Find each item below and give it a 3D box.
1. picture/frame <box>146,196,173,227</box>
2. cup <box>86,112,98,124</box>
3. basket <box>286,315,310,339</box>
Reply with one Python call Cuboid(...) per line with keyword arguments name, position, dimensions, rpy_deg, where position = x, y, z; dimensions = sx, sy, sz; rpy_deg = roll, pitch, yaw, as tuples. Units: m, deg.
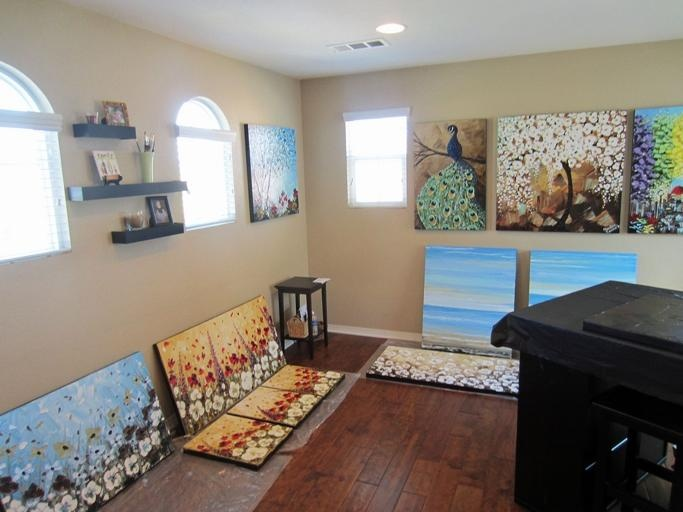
Cuboid(name="picture/frame", position=(-1.432, -0.350, 3.641), dimensions=(0.048, 0.214, 0.178), rpy_deg=(-5, 18, 27))
Cuboid(name="cup", position=(-1.707, -0.945, 3.178), dimensions=(0.056, 0.101, 0.100), rpy_deg=(-6, 11, -42))
Cuboid(name="basket", position=(-0.472, 0.776, 5.004), dimensions=(0.168, 0.264, 0.259), rpy_deg=(-1, -1, 16))
